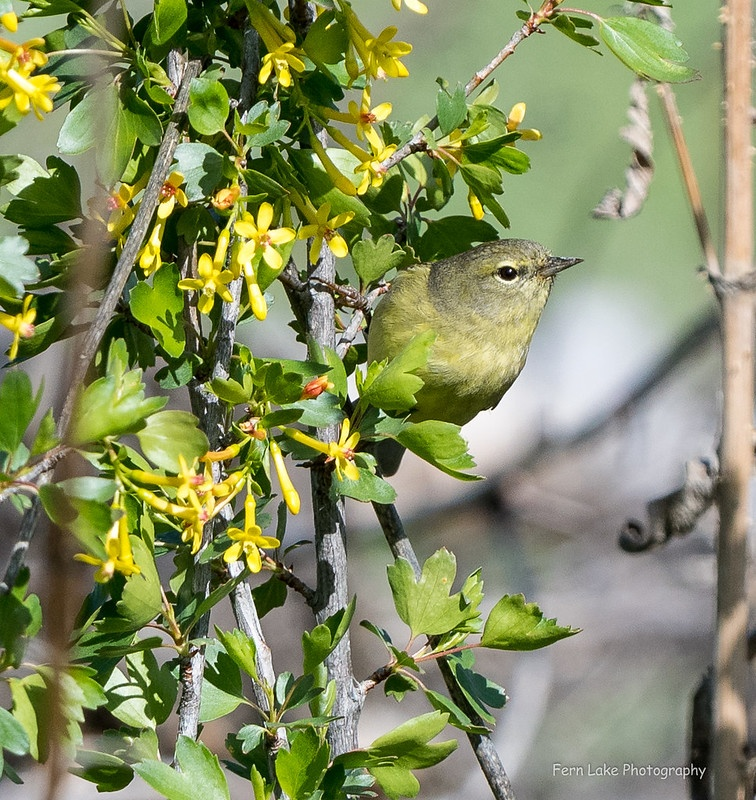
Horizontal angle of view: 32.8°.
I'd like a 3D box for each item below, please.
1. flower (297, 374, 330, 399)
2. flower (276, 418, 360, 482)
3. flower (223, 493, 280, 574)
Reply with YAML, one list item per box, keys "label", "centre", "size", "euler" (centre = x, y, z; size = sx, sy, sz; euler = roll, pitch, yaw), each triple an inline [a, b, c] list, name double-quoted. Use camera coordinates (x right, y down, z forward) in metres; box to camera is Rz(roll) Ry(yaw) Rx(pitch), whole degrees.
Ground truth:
- label: "flower"
  centre: [-0.092, -0.020, 1.822]
  size: [0.020, 0.019, 0.044]
  euler: [36, 65, 20]
- label: "flower"
  centre: [-0.086, 0.070, 1.937]
  size: [0.114, 0.074, 0.077]
  euler: [24, 36, 30]
- label: "flower"
  centre: [-0.186, 0.182, 1.756]
  size: [0.102, 0.048, 0.057]
  euler: [17, 3, -6]
